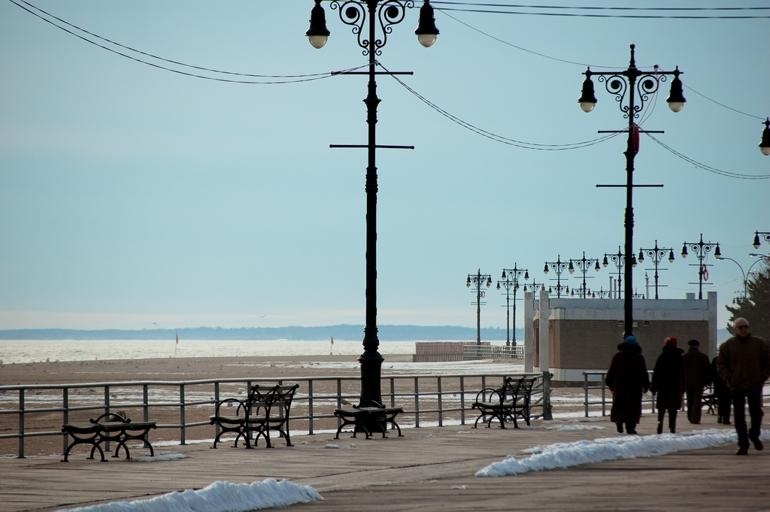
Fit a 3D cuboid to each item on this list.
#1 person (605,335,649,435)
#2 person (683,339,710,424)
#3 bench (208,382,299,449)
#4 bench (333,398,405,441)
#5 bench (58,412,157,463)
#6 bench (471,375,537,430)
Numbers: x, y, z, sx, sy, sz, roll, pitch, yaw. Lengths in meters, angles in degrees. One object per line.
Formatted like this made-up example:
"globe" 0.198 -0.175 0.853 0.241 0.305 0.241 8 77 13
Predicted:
"person" 6.628 3.445 45.956 1.144 2.715 1.145 -2 -8 7
"person" 8.773 3.549 48.294 0.942 2.300 0.656 1 -3 0
"bench" -4.231 4.953 51.565 2.245 2.133 18.289 0 -8 -6
"bench" -0.469 4.406 45.854 2.601 1.369 0.986 2 -2 4
"bench" -6.979 4.513 42.422 2.254 1.263 3.524 0 -8 -10
"bench" 3.391 4.107 47.767 1.603 1.539 2.712 -2 -8 4
